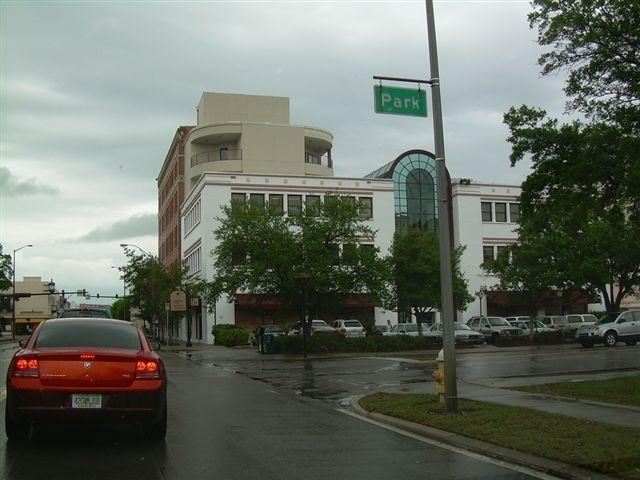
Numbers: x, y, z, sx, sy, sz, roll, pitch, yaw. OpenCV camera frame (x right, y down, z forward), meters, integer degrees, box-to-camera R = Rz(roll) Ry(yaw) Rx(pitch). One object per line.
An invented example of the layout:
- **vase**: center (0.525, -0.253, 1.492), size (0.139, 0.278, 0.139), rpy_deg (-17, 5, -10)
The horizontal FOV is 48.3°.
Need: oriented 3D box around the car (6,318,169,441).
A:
- **car**: center (-3.749, 2.196, 11.641), size (1.578, 1.224, 2.903), rpy_deg (1, -4, -9)
